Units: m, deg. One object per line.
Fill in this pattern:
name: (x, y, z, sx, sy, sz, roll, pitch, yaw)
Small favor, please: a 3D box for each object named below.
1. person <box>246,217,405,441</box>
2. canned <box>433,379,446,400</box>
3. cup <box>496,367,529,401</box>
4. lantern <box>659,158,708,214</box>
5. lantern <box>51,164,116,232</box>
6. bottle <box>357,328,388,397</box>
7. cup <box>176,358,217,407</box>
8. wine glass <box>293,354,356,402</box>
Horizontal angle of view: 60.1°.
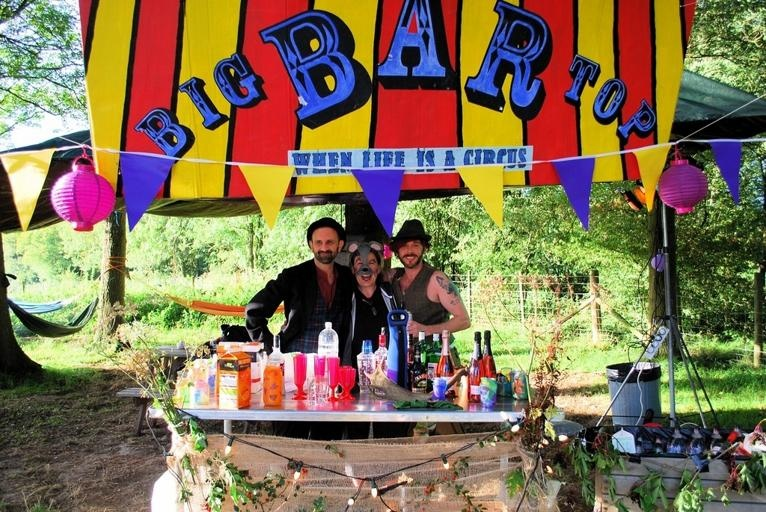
person: (-0.618, 0.887, 6.799, 1.429, 2.787, 0.835, -7, 18, -23)
canned: (0.482, 1.128, 5.626, 0.145, 0.214, 0.145, 1, -9, 4)
cup: (1.121, 1.108, 5.759, 0.170, 0.242, 0.282, 1, -4, -13)
lantern: (2.929, -0.697, 6.478, 0.461, 0.507, 0.251, 2, -5, 12)
lantern: (-2.839, -0.580, 6.301, 0.524, 0.663, 0.331, 2, -5, 10)
bottle: (-0.113, 0.937, 5.866, 0.224, 0.580, 0.315, -3, -6, -17)
cup: (-1.574, 1.075, 5.582, 0.409, 0.454, 0.262, 9, -13, -42)
wine glass: (-0.497, 1.024, 5.655, 0.484, 0.382, 0.323, 0, -1, -4)
